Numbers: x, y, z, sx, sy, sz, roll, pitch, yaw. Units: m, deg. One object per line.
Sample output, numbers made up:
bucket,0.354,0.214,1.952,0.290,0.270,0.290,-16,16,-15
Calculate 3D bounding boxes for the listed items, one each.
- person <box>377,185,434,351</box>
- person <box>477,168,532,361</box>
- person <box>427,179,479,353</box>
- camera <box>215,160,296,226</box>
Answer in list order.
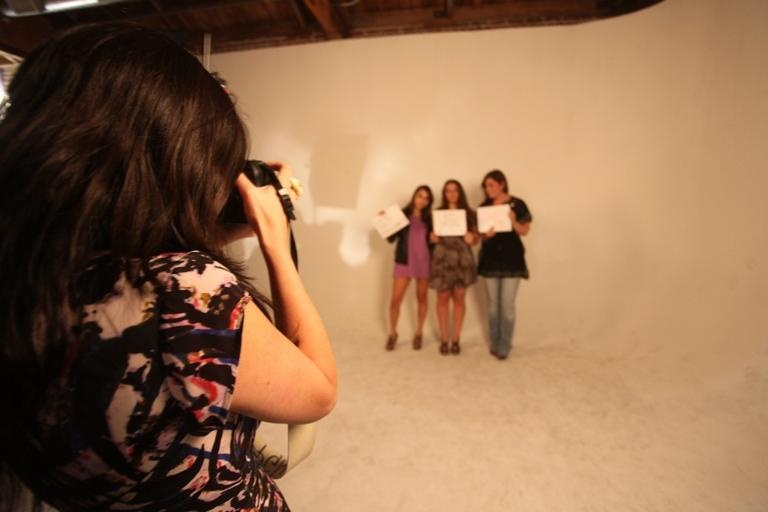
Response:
person,0.227,0.104,4.939,0.506,1.488,0.421,-2,12,5
person,1.016,0.069,4.624,0.348,1.610,0.462,-11,14,-32
person,0.639,0.085,4.827,0.416,1.533,0.537,-2,12,10
camera,-0.447,-0.209,1.777,0.232,0.232,0.086,0,-2,-17
